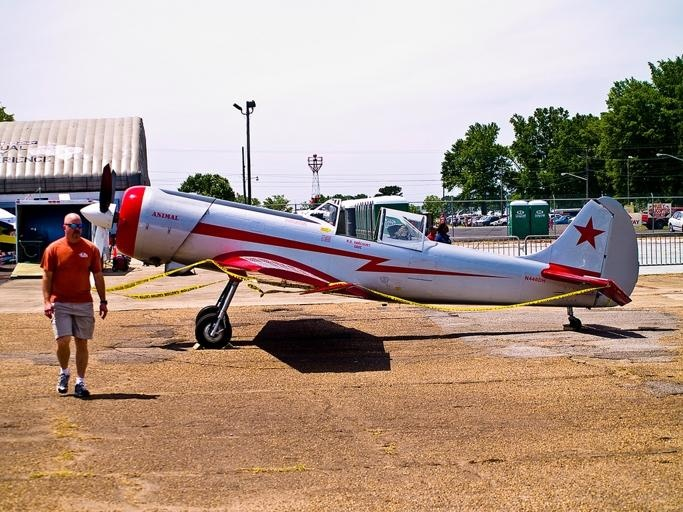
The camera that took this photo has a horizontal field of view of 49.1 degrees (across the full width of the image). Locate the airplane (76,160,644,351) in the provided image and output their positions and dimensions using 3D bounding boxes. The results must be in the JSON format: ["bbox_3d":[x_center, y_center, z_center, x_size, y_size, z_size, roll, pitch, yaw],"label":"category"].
[{"bbox_3d":[0.637,0.004,13.681,6.386,1.464,5.554,4,0,-5],"label":"airplane"}]

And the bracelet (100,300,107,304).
[{"bbox_3d":[-3.241,0.638,10.203,0.091,0.042,0.079,-2,-3,-12],"label":"bracelet"}]

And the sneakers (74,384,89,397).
[{"bbox_3d":[-3.474,1.785,9.998,0.195,0.181,0.220,-4,14,-17],"label":"sneakers"}]

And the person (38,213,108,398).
[{"bbox_3d":[-3.575,0.648,10.061,0.793,2.434,1.013,-5,16,-16],"label":"person"}]
